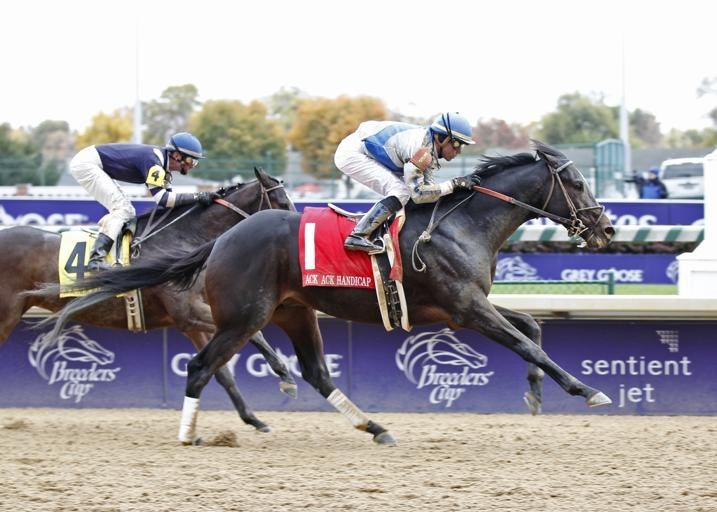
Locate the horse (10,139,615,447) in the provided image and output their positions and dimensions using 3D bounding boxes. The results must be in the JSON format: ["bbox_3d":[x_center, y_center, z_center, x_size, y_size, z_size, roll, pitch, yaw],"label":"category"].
[{"bbox_3d":[0.064,0.302,9.621,3.839,2.342,0.940,1,16,4],"label":"horse"}]

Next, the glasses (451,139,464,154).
[{"bbox_3d":[0.780,-0.841,9.532,0.094,0.104,0.059,6,-47,-42],"label":"glasses"}]

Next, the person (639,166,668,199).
[{"bbox_3d":[4.279,-0.981,17.476,0.395,0.361,0.798,4,14,12],"label":"person"}]

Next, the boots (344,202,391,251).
[{"bbox_3d":[0.112,-0.207,9.352,0.235,0.366,0.380,14,20,41],"label":"boots"}]
